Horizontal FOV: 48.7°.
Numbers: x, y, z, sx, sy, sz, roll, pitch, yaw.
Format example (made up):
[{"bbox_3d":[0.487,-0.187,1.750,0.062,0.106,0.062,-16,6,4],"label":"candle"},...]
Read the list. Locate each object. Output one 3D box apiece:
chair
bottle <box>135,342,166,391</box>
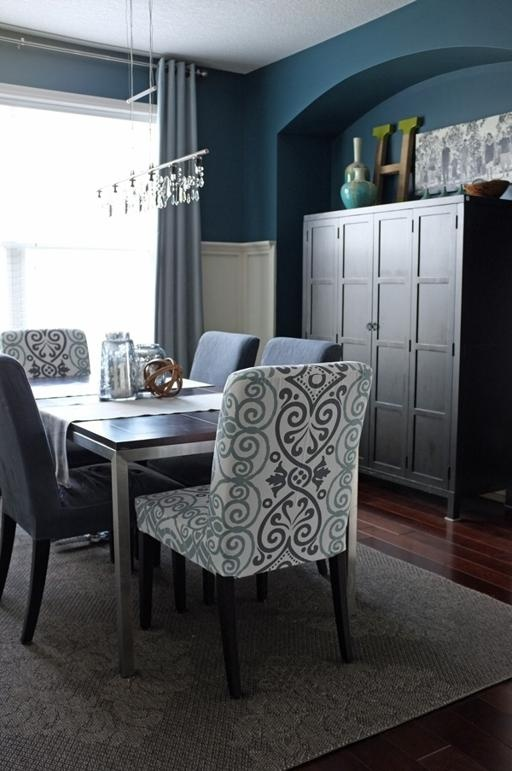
[{"bbox_3d":[-0.295,0.195,1.831,0.517,1.053,1.435,-6,10,-32],"label":"chair"},{"bbox_3d":[-0.435,-0.078,2.166,0.142,0.175,0.152,4,10,15],"label":"bottle"}]
